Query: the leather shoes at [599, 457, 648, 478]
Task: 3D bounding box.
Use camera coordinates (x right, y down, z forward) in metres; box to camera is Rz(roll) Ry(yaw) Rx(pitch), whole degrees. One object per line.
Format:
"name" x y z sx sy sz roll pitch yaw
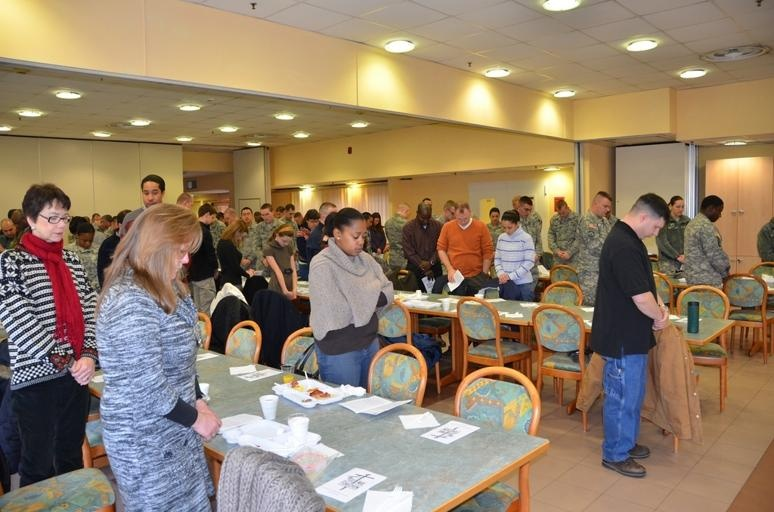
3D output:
"leather shoes" 1.964 1.753 4.238 0.279 0.111 0.129 0 3 26

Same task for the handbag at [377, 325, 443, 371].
"handbag" 0.362 0.975 5.558 0.479 0.205 0.610 3 -1 36

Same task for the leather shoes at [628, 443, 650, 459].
"leather shoes" 2.174 1.700 4.485 0.191 0.078 0.104 -7 8 -7

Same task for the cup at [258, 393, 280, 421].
"cup" -0.724 0.941 3.264 0.145 0.143 0.139 -2 5 0

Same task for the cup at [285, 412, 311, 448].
"cup" -0.501 0.998 2.979 0.143 0.153 0.146 -2 -2 0

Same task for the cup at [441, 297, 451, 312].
"cup" 0.653 0.559 5.860 0.123 0.121 0.113 0 -4 0

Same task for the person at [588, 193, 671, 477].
"person" 1.963 0.651 4.187 0.563 2.280 0.473 0 12 6
